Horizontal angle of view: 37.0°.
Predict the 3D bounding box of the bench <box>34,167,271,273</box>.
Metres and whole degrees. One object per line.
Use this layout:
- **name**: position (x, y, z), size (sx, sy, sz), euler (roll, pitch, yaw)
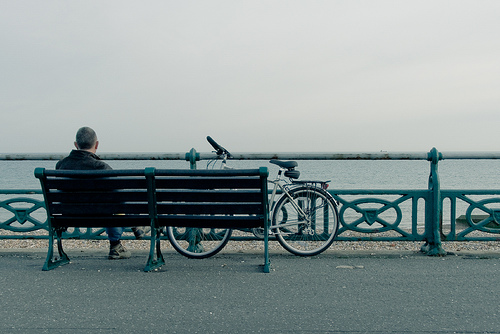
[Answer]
- **bench**: position (-1.399, 0.751, 10.876), size (3.324, 1.525, 0.377), euler (-1, 5, 4)
